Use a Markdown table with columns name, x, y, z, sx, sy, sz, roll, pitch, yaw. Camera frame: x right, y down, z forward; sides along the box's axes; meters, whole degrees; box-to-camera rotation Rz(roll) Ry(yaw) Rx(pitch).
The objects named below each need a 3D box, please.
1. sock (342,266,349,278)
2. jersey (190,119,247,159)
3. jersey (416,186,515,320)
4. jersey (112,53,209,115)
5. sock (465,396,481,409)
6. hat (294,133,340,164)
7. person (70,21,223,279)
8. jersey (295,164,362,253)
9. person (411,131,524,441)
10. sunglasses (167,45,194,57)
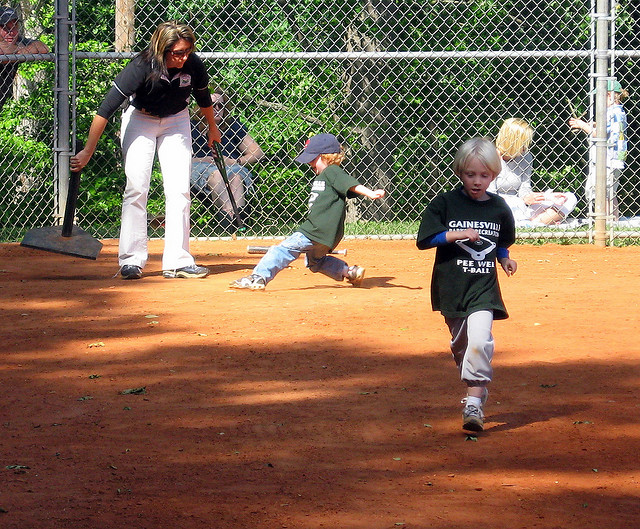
| name | x | y | z | sx | sy | sz | roll | pitch | yaw |
| --- | --- | --- | --- | --- | --- | --- | --- | --- | --- |
| sock | 0.181 | 0.051 | 5.684 | 0.052 | 0.076 | 0.028 | 4 | 3 | 40 |
| jersey | -1.244 | -1.559 | 9.712 | 0.894 | 0.610 | 0.017 | 5 | 21 | 36 |
| jersey | 0.601 | -0.046 | 3.205 | 0.351 | 0.525 | 0.261 | 3 | 3 | 15 |
| jersey | -1.152 | -1.340 | 5.609 | 0.748 | 0.305 | 0.421 | -6 | -36 | -31 |
| sock | 0.595 | 0.537 | 2.973 | 0.052 | 0.030 | 0.047 | 1 | 3 | 5 |
| hat | -0.006 | -0.867 | 5.630 | 0.379 | 0.121 | 0.196 | -2 | 7 | 0 |
| person | -1.225 | -0.789 | 5.650 | 0.916 | 1.830 | 0.768 | 2 | 3 | -14 |
| jersey | 0.068 | -0.411 | 5.471 | 0.446 | 0.630 | 0.287 | 3 | 2 | 11 |
| person | 0.616 | 0.042 | 3.306 | 0.416 | 1.215 | 0.895 | 3 | 3 | 10 |
| sunglasses | -0.982 | -1.488 | 5.319 | 0.126 | 0.026 | 0.088 | -10 | 46 | -10 |
